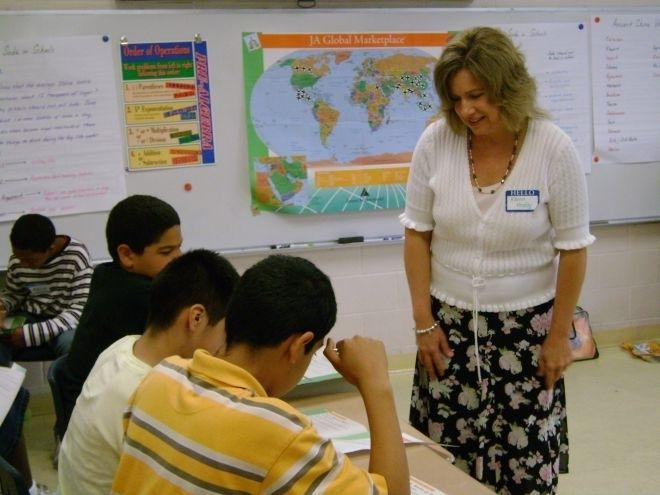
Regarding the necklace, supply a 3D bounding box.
[{"bbox_3d":[0.558,-0.283,1.934,0.180,0.063,0.335,18,-13,23],"label":"necklace"}]
